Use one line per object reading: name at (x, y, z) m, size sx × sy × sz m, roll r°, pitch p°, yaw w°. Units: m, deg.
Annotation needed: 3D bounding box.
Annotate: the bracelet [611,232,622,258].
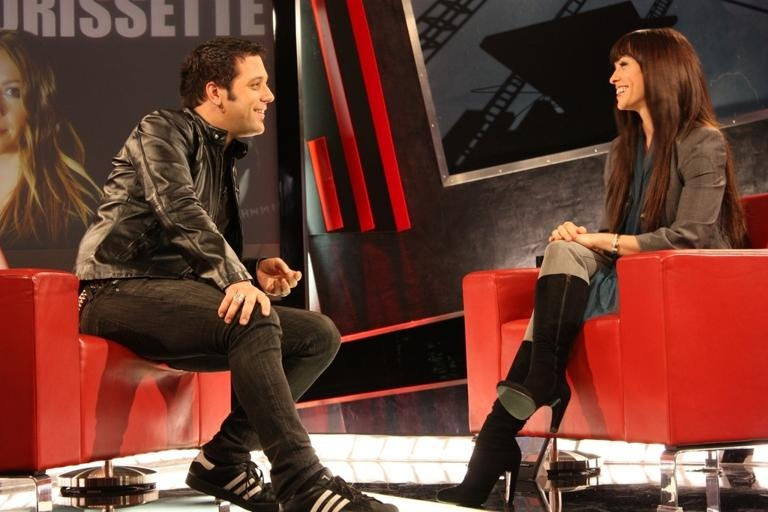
bracelet at (0.882, -0.044, 2.907) m, size 0.051 × 0.073 × 0.077 m, roll 9°, pitch -28°, yaw 13°
